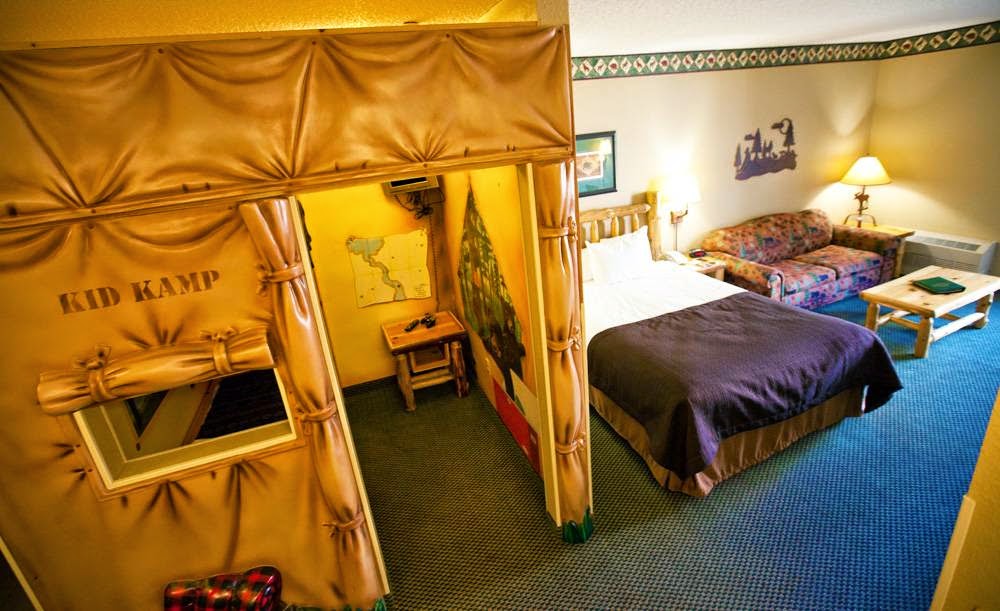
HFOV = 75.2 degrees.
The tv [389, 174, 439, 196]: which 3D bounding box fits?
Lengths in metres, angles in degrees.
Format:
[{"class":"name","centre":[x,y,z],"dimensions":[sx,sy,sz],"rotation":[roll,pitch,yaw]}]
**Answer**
[{"class":"tv","centre":[-0.900,-1.277,6.900],"dimensions":[0.575,0.209,0.414],"rotation":[-14,21,-18]}]

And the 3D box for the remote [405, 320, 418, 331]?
[{"class":"remote","centre":[-0.989,0.227,7.264],"dimensions":[0.051,0.082,0.148],"rotation":[-22,28,48]}]

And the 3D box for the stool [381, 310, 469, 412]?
[{"class":"stool","centre":[-0.809,0.629,7.376],"dimensions":[0.839,0.766,0.678],"rotation":[-13,21,-14]}]

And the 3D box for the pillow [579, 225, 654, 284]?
[{"class":"pillow","centre":[1.382,-0.601,7.795],"dimensions":[0.797,0.471,0.227],"rotation":[-13,-21,-14]}]

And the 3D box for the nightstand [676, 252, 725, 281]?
[{"class":"nightstand","centre":[2.563,-0.570,8.417],"dimensions":[0.462,0.286,0.455],"rotation":[-18,37,-16]}]

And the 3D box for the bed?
[{"class":"bed","centre":[2.123,0.624,6.919],"dimensions":[2.448,1.295,2.372],"rotation":[-15,21,-20]}]
